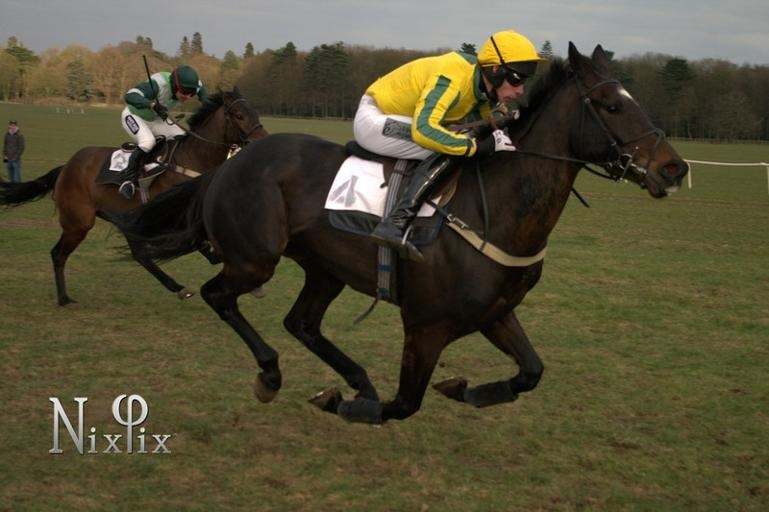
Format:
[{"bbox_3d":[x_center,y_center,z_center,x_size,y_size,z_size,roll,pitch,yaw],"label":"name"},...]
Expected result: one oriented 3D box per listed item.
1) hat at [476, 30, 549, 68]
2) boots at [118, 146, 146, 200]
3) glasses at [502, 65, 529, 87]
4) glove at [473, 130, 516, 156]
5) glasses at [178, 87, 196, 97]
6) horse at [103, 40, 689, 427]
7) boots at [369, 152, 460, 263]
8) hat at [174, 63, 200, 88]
[{"bbox_3d":[0.894,-1.450,5.566,0.380,0.251,0.243,-6,22,-30],"label":"hat"},{"bbox_3d":[-2.591,-0.856,8.163,0.216,0.178,0.572,22,63,3],"label":"boots"},{"bbox_3d":[0.918,-1.265,5.550,0.187,0.049,0.138,26,19,30],"label":"glasses"},{"bbox_3d":[0.780,-0.785,5.622,0.262,0.062,0.204,-19,54,4],"label":"glove"},{"bbox_3d":[-2.183,-1.769,8.630,0.134,0.097,0.096,26,15,27],"label":"glasses"},{"bbox_3d":[0.007,-0.165,6.864,5.998,3.022,1.426,10,24,40],"label":"horse"},{"bbox_3d":[0.275,-0.385,5.648,0.486,0.220,0.878,20,55,1],"label":"boots"},{"bbox_3d":[-2.160,-1.930,8.596,0.254,0.264,0.228,-21,-10,-34],"label":"hat"}]
